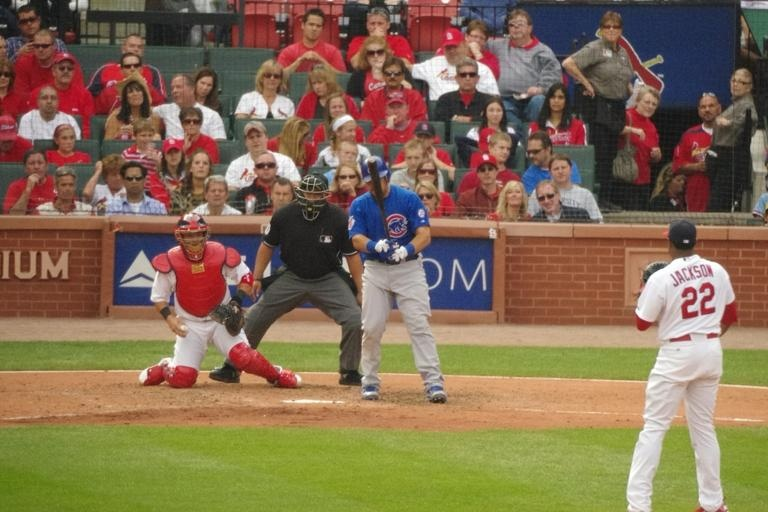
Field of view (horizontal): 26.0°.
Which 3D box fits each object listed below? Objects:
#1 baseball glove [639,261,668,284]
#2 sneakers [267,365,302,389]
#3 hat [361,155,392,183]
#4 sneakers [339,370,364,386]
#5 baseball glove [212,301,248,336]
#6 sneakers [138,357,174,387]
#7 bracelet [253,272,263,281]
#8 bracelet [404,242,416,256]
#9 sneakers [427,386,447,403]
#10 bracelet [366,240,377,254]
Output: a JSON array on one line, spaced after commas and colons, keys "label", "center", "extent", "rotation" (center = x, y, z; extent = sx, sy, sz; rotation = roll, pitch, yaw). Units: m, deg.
[{"label": "baseball glove", "center": [3.763, 0.253, 23.097], "extent": [0.086, 0.351, 0.348], "rotation": [26, 26, -44]}, {"label": "sneakers", "center": [-1.521, 1.827, 25.070], "extent": [0.492, 0.284, 0.259], "rotation": [-4, 19, -3]}, {"label": "hat", "center": [-0.166, -1.305, 24.210], "extent": [0.307, 0.427, 0.221], "rotation": [-17, 51, -6]}, {"label": "sneakers", "center": [-0.514, 1.866, 25.193], "extent": [0.408, 0.271, 0.157], "rotation": [0, 7, 7]}, {"label": "baseball glove", "center": [-2.290, 0.908, 24.657], "extent": [0.512, 0.381, 0.241], "rotation": [44, 0, -15]}, {"label": "sneakers", "center": [-3.379, 1.751, 24.931], "extent": [0.563, 0.274, 0.233], "rotation": [-25, -7, 25]}, {"label": "bracelet", "center": [-1.920, 0.331, 25.063], "extent": [0.105, 0.116, 0.136], "rotation": [1, 0, 0]}, {"label": "bracelet", "center": [0.384, -0.067, 24.172], "extent": [0.155, 0.164, 0.182], "rotation": [0, 0, 11]}, {"label": "sneakers", "center": [0.773, 2.031, 24.368], "extent": [0.325, 0.285, 0.246], "rotation": [0, 4, -5]}, {"label": "bracelet", "center": [-0.189, -0.115, 24.114], "extent": [0.150, 0.137, 0.145], "rotation": [-2, 4, -24]}]
